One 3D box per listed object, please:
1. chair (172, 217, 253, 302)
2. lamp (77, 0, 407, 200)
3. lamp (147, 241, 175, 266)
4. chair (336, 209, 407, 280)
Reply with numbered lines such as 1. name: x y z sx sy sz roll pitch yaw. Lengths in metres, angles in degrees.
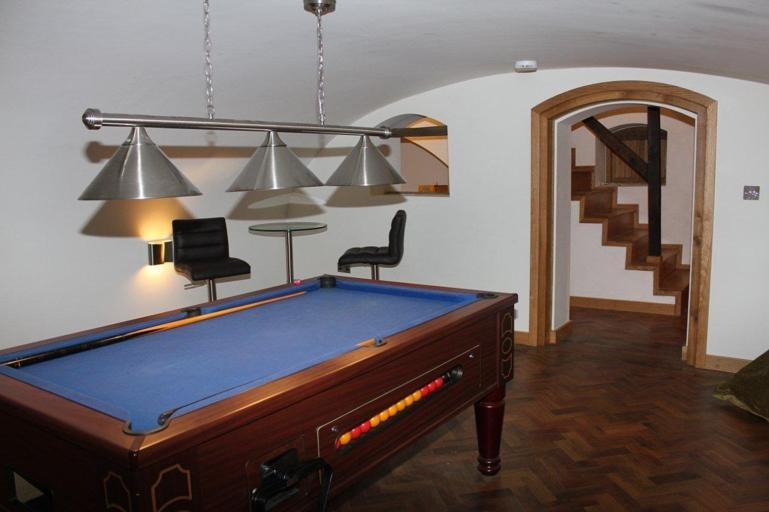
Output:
1. chair: -1.823 0.191 5.952 0.637 1.123 0.674 -14 26 -42
2. lamp: -1.167 -1.277 4.410 0.403 0.976 1.608 2 7 41
3. lamp: -2.330 -0.034 5.862 0.243 0.246 0.097 -3 6 -19
4. chair: -0.143 0.020 6.256 0.766 0.847 0.593 -3 9 6
